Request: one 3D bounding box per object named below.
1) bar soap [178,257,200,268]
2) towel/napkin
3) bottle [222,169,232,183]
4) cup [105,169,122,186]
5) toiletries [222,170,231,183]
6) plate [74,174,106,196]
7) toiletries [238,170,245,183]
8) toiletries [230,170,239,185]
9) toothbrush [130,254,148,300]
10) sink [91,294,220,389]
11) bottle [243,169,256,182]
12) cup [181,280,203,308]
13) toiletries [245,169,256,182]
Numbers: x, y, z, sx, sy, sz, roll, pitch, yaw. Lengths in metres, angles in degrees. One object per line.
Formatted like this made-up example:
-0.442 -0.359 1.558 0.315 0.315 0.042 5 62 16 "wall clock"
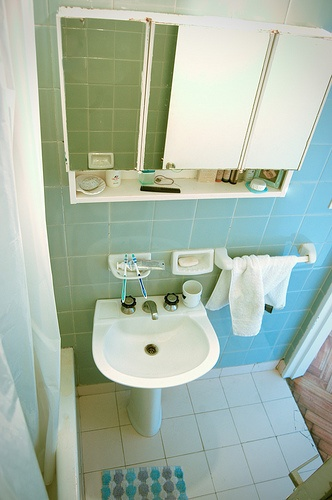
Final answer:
0.109 0.060 1.563 0.068 0.019 0.052 -2 45 -12 "bar soap"
0.450 0.195 1.708 0.416 0.450 0.244 -5 39 -4 "towel/napkin"
0.248 -0.300 1.370 0.033 0.060 0.034 0 47 0 "bottle"
-0.188 -0.280 1.253 0.052 0.061 0.052 4 45 -4 "cup"
0.249 -0.299 1.371 0.032 0.059 0.034 1 49 0 "toiletries"
-0.286 -0.227 1.209 0.083 0.015 0.075 16 60 -6 "plate"
0.310 -0.302 1.377 0.026 0.051 0.028 3 49 0 "toiletries"
0.288 -0.300 1.377 0.047 0.058 0.026 -21 42 -33 "toiletries"
-0.125 0.078 1.435 0.035 0.020 0.302 -5 56 -19 "toothbrush"
-0.052 0.419 1.492 0.531 0.161 0.488 -3 37 -13 "sink"
0.345 -0.304 1.382 0.037 0.056 0.033 0 28 -2 "bottle"
0.126 0.209 1.625 0.101 0.117 0.123 3 50 3 "cup"
0.346 -0.305 1.382 0.035 0.063 0.035 3 55 3 "toiletries"
